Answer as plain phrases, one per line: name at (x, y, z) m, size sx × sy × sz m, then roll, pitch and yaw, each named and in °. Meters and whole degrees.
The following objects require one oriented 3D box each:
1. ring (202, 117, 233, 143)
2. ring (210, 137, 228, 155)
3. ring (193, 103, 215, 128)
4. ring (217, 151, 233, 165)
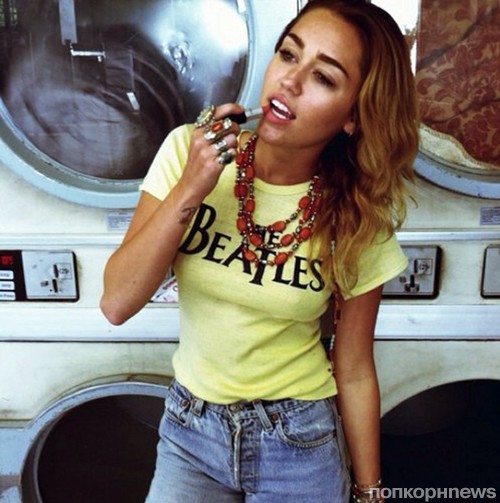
ring at (-0.058, -0.209, 0.918) m, size 0.027 × 0.060 × 0.040 m, roll 32°, pitch 33°, yaw -51°
ring at (-0.053, -0.183, 0.877) m, size 0.024 × 0.022 × 0.021 m, roll -10°, pitch 41°, yaw -1°
ring at (-0.082, -0.244, 0.931) m, size 0.011 × 0.041 × 0.042 m, roll 42°, pitch 11°, yaw -27°
ring at (-0.042, -0.161, 0.869) m, size 0.020 × 0.024 × 0.009 m, roll 26°, pitch 39°, yaw -31°
